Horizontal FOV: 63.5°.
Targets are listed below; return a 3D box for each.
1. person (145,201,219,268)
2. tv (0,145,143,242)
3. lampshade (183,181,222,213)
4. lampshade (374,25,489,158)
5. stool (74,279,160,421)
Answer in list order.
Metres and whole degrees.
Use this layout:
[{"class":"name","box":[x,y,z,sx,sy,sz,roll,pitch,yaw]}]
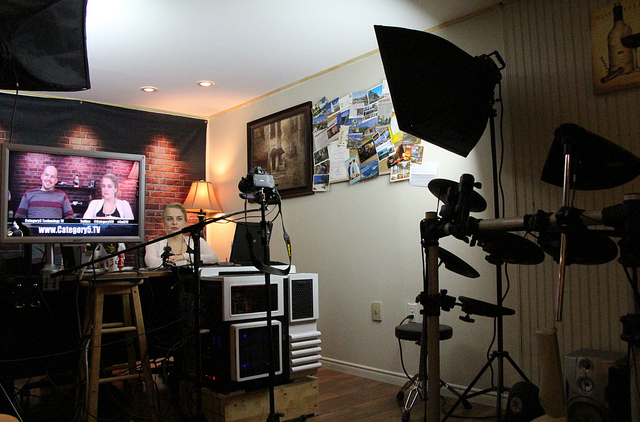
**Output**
[{"class":"person","box":[-1.284,0.321,4.655,0.642,0.821,0.507,-4,-21,-20]},{"class":"tv","box":[-1.707,-0.100,3.486,0.705,0.536,0.050,3,-8,-28]},{"class":"lampshade","box":[-1.441,-0.170,6.339,0.414,0.293,0.408,1,-13,-11]},{"class":"lampshade","box":[0.806,-0.797,3.511,1.035,0.750,0.243,0,-4,-44]},{"class":"stool","box":[-1.475,0.982,3.737,0.547,1.016,0.822,-2,-3,-20]}]
